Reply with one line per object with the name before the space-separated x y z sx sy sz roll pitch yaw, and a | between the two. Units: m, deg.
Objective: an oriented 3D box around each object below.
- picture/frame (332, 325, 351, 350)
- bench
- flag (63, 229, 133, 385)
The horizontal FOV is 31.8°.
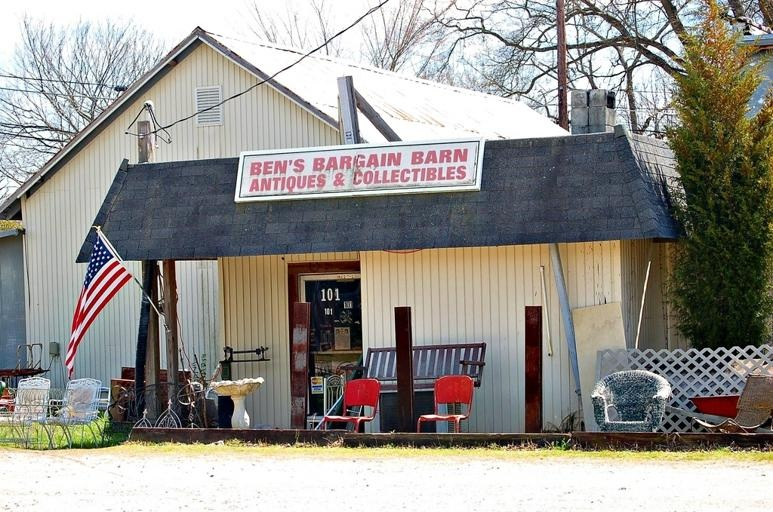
picture/frame | -1.055 1.968 32.077 0.543 0.765 0.072 -1 2 13
bench | 0.636 2.673 29.465 2.832 1.413 1.025 -3 -5 18
flag | -6.249 0.855 29.251 1.175 3.181 1.368 5 -10 -36
